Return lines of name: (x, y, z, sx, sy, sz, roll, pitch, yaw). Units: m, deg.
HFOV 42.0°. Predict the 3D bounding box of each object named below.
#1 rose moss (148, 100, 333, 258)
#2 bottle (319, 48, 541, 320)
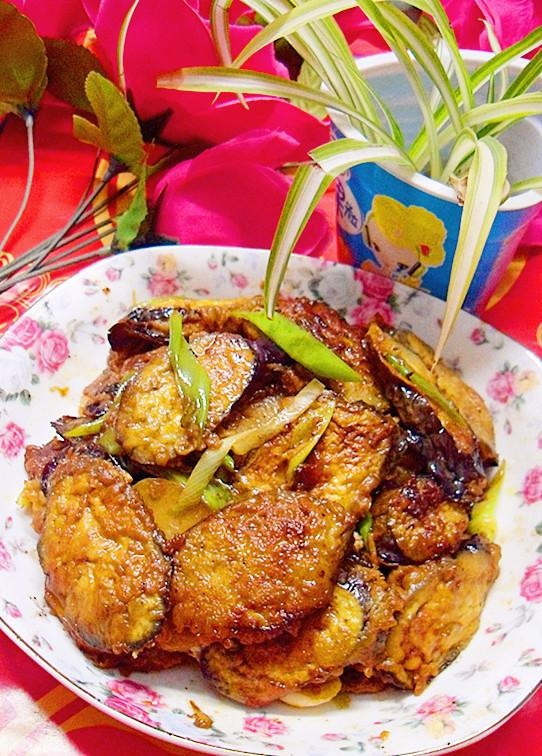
rose moss: (-0.089, -0.442, 1.974, 0.492, 0.412, 0.190, 17, 86, -22)
bottle: (0.299, -0.487, 1.764, 0.634, 0.462, 0.583, 2, 48, -3)
